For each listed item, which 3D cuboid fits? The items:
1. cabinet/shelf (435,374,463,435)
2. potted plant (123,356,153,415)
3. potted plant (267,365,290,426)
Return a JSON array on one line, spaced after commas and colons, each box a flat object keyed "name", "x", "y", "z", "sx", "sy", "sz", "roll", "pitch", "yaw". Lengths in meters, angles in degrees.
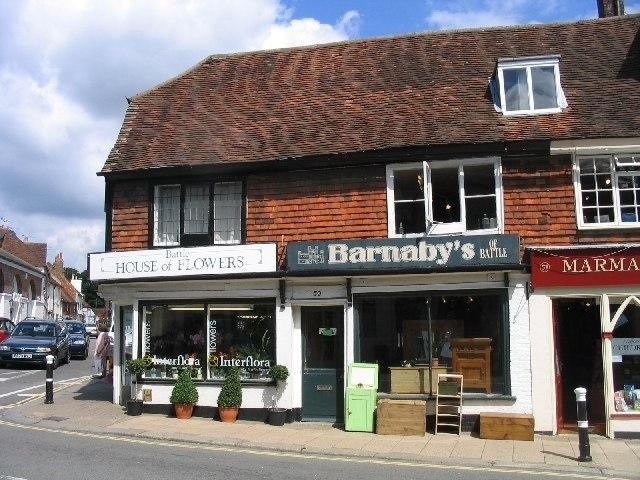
[{"name": "cabinet/shelf", "x": 3.198, "y": 3.967, "z": 18.707, "sx": 0.699, "sy": 1.392, "sz": 0.928, "roll": 2, "pitch": 4, "yaw": 10}, {"name": "potted plant", "x": -4.833, "y": 3.890, "z": 20.479, "sx": 0.622, "sy": 1.428, "sz": 1.019, "roll": 0, "pitch": 4, "yaw": -13}, {"name": "potted plant", "x": -1.051, "y": 3.922, "z": 19.402, "sx": 0.497, "sy": 1.450, "sz": 0.669, "roll": 1, "pitch": 4, "yaw": 6}]
